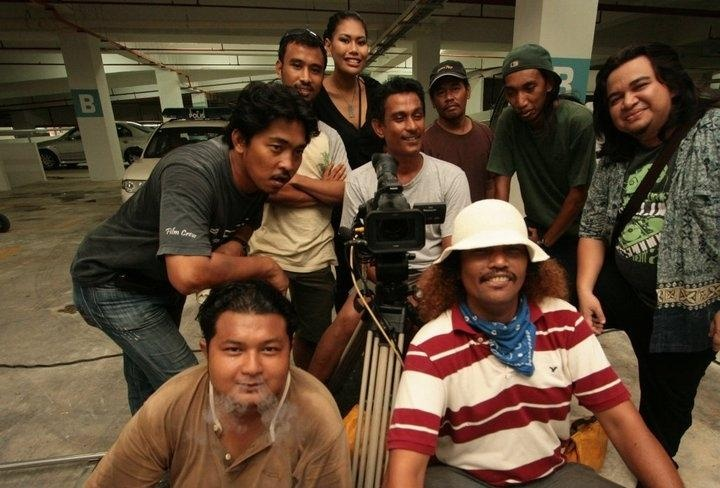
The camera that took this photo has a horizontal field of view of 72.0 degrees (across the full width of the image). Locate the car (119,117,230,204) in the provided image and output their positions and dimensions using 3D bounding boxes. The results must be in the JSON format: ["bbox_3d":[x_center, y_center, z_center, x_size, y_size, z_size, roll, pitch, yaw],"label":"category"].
[{"bbox_3d":[-2.669,-1.343,7.980,1.393,1.034,3.129,0,20,2],"label":"car"}]

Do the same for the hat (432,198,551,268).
[{"bbox_3d":[0.727,-0.035,2.561,0.635,0.305,0.657,-4,-15,14],"label":"hat"}]

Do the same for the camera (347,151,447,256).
[{"bbox_3d":[0.152,-0.229,2.647,0.438,0.237,0.574,-3,21,0],"label":"camera"}]
